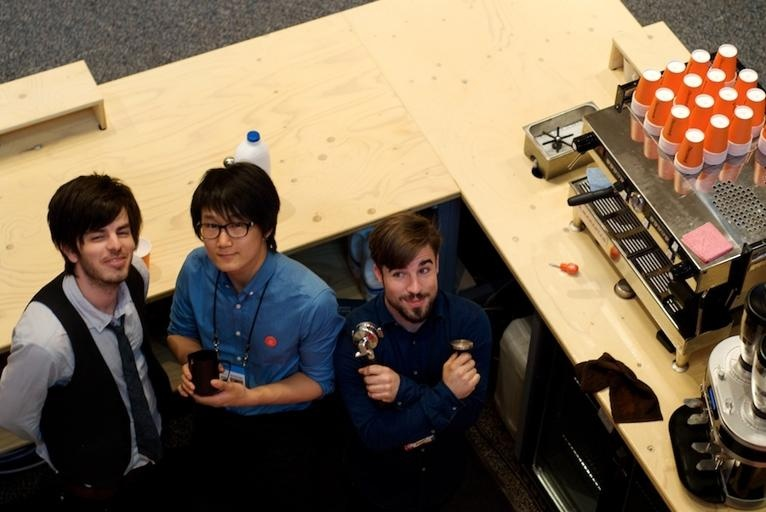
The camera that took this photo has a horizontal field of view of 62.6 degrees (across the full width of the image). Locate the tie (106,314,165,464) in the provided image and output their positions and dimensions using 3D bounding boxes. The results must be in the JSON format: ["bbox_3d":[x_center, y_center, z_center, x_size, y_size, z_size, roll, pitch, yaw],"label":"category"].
[{"bbox_3d":[-0.985,0.553,2.509,0.131,0.549,0.066,-17,21,-20],"label":"tie"}]

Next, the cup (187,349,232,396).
[{"bbox_3d":[-0.664,0.427,2.424,0.147,0.153,0.149,1,34,-1],"label":"cup"}]

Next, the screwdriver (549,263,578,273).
[{"bbox_3d":[0.779,0.049,2.720,0.107,0.046,0.025,14,6,24],"label":"screwdriver"}]
